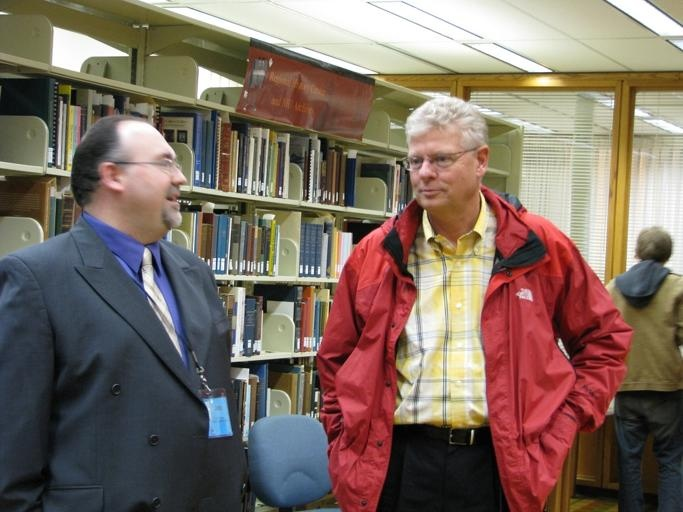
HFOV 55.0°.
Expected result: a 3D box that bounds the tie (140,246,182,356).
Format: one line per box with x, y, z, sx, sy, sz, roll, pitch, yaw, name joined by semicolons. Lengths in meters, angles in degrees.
-0.555;0.154;2.005;0.045;0.331;0.033;-15;6;21;tie
